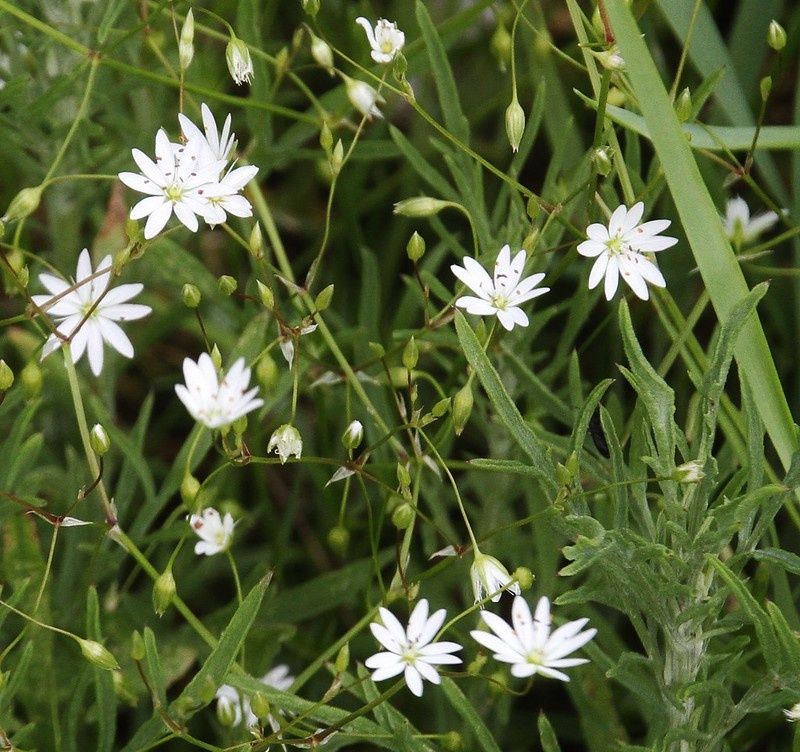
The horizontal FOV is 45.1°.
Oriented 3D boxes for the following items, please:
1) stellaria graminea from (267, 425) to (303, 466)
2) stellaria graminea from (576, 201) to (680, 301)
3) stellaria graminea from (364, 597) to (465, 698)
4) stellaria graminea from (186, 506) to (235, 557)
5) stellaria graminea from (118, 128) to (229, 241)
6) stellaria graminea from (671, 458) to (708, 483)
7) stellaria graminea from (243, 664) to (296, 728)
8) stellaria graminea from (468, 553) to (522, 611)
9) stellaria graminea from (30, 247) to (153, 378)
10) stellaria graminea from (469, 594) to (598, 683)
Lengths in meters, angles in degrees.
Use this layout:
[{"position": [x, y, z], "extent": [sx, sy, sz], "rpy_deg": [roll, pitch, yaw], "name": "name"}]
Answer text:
[{"position": [-0.081, 0.049, 0.729], "extent": [0.027, 0.007, 0.039], "rpy_deg": [7, 89, -27], "name": "stellaria graminea"}, {"position": [0.164, -0.085, 0.684], "extent": [0.071, 0.042, 0.059], "rpy_deg": [-23, 65, -10], "name": "stellaria graminea"}, {"position": [0.008, 0.184, 0.645], "extent": [0.059, 0.033, 0.066], "rpy_deg": [6, 36, 34], "name": "stellaria graminea"}, {"position": [-0.153, 0.127, 0.778], "extent": [0.035, 0.023, 0.044], "rpy_deg": [-20, 93, -18], "name": "stellaria graminea"}, {"position": [-0.167, -0.143, 0.718], "extent": [0.067, 0.051, 0.096], "rpy_deg": [8, 65, 5], "name": "stellaria graminea"}, {"position": [0.188, 0.063, 0.622], "extent": [0.016, 0.006, 0.014], "rpy_deg": [-12, 83, 25], "name": "stellaria graminea"}, {"position": [-0.100, 0.246, 0.733], "extent": [0.022, 0.042, 0.053], "rpy_deg": [34, 53, -24], "name": "stellaria graminea"}, {"position": [0.064, 0.137, 0.679], "extent": [0.025, 0.015, 0.044], "rpy_deg": [-19, 93, 11], "name": "stellaria graminea"}, {"position": [-0.250, -0.034, 0.768], "extent": [0.083, 0.032, 0.114], "rpy_deg": [4, 86, 5], "name": "stellaria graminea"}, {"position": [0.089, 0.182, 0.639], "extent": [0.083, 0.104, 0.040], "rpy_deg": [10, 79, -2], "name": "stellaria graminea"}]
